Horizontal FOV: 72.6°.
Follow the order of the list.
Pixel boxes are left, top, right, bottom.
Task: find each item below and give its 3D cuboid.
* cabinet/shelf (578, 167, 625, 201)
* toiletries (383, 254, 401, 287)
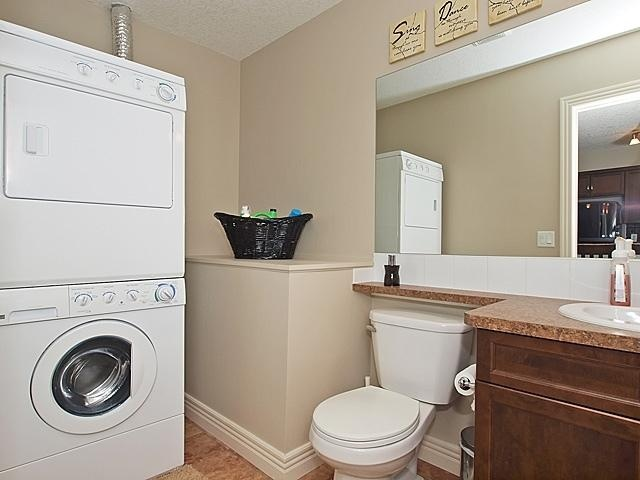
[{"bbox_3d":[1.258,-0.258,1.956,0.112,0.161,0.191,5,-5,-43],"label":"cabinet/shelf"},{"bbox_3d":[0.410,0.170,2.487,0.098,0.175,0.094,2,6,15],"label":"toiletries"}]
